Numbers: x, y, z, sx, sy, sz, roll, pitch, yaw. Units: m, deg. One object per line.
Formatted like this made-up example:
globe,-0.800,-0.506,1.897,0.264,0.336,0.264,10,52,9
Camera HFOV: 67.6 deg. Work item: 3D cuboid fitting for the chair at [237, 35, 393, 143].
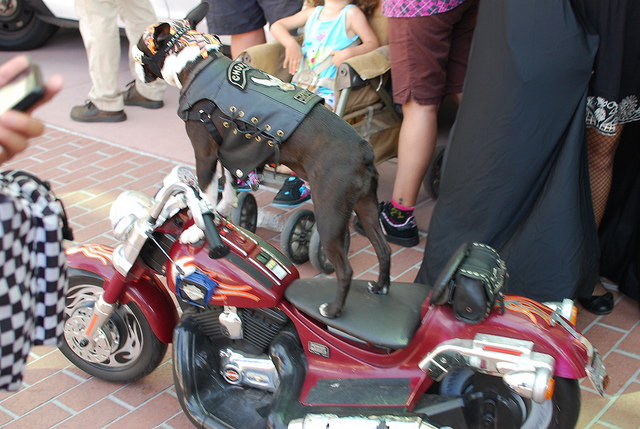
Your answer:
chair,0.069,-0.953,3.743,1.001,0.990,1.002,17,30,35

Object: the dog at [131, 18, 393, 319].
dog,-0.357,-0.304,2.492,1.531,1.096,0.478,26,40,22

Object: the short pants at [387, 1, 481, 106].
short pants,0.763,-1.063,3.153,0.601,0.617,0.229,-17,35,-18
